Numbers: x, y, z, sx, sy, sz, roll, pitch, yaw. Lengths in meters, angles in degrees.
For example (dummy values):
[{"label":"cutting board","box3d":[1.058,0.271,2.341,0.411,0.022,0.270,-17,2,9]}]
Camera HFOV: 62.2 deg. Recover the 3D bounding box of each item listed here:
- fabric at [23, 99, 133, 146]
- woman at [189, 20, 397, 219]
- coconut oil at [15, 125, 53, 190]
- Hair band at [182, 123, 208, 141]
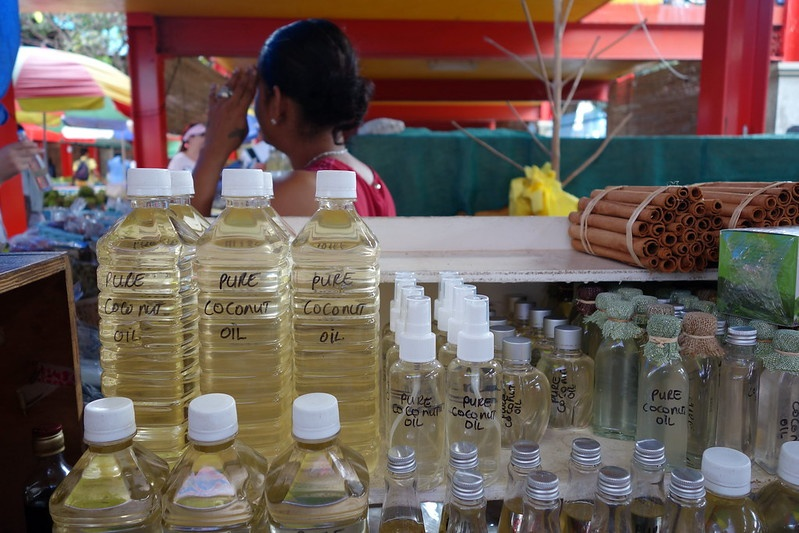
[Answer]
[{"label":"fabric","box3d":[-1.378,-0.621,2.813,0.328,0.146,0.298,-3,-8,-15]},{"label":"woman","box3d":[-0.335,-0.504,2.437,0.656,0.727,0.563,4,5,32]},{"label":"coconut oil","box3d":[-1.388,-0.403,2.519,0.072,0.231,0.322,-4,2,-23]},{"label":"Hair band","box3d":[-0.676,-0.446,2.175,0.066,0.039,0.052,-32,8,29]}]
